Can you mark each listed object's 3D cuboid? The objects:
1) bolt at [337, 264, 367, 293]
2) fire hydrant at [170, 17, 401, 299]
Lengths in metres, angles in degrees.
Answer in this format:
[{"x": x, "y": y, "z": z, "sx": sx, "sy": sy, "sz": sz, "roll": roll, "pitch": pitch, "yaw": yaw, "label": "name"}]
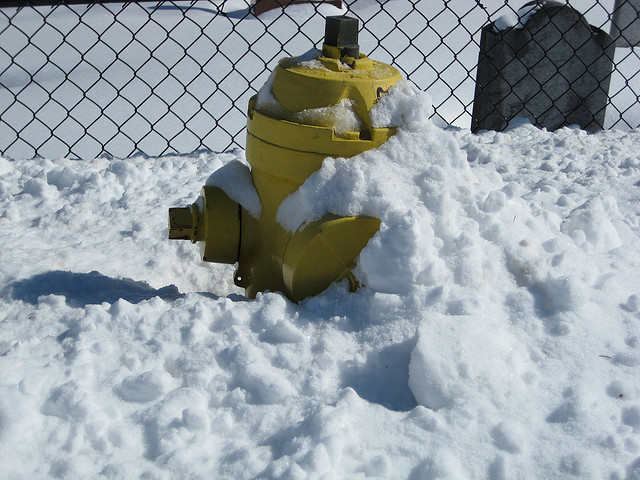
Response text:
[{"x": 0.114, "y": 0.136, "z": 2.838, "sx": 0.043, "sy": 0.077, "sz": 0.108, "roll": -12, "pitch": 38, "yaw": -38, "label": "bolt"}, {"x": -0.079, "y": -0.197, "z": 2.892, "sx": 0.695, "sy": 0.981, "sz": 0.662, "roll": 32, "pitch": 32, "yaw": 17, "label": "fire hydrant"}]
